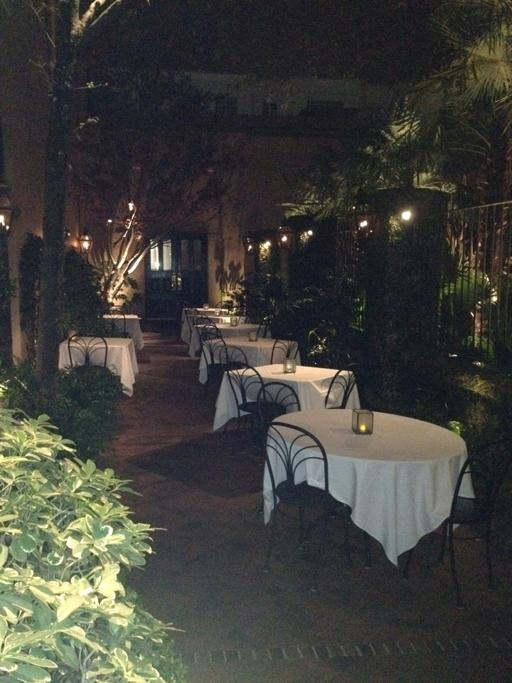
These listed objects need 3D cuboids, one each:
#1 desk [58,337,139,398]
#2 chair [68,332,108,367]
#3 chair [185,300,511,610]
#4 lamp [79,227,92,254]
[{"bbox_3d":[-2.138,0.227,7.866,0.756,0.558,0.857,4,4,7],"label":"desk"},{"bbox_3d":[-2.287,0.126,7.823,0.516,0.403,1.058,-1,6,-18],"label":"chair"},{"bbox_3d":[0.612,0.646,3.373,0.792,0.846,1.466,-3,7,-29],"label":"chair"},{"bbox_3d":[-4.271,-2.487,14.304,0.274,0.642,1.534,-1,6,-17],"label":"lamp"}]
